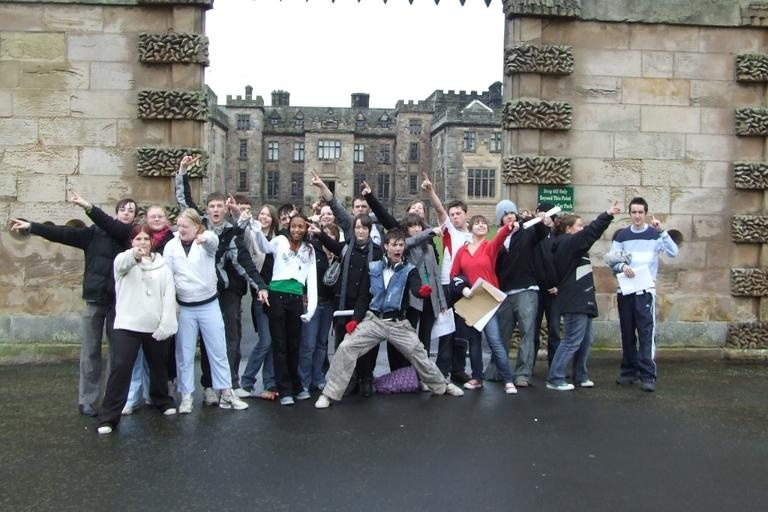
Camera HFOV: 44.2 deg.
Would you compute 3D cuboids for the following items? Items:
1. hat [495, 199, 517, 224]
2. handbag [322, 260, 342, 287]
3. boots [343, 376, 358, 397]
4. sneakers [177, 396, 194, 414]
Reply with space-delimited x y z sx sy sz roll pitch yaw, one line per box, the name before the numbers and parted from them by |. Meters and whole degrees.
hat | 2.121 -0.821 15.792 0.356 0.383 0.464 -8 -12 -8
handbag | -0.793 0.263 15.082 0.242 0.370 0.143 32 -9 -20
boots | -0.509 2.033 15.003 0.295 0.330 0.184 13 -27 2
sneakers | -2.983 2.204 14.387 0.227 0.255 0.390 -1 3 -12
